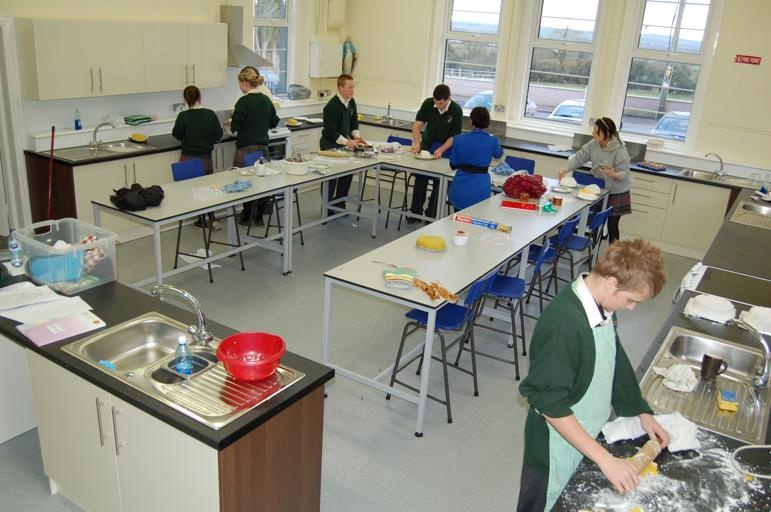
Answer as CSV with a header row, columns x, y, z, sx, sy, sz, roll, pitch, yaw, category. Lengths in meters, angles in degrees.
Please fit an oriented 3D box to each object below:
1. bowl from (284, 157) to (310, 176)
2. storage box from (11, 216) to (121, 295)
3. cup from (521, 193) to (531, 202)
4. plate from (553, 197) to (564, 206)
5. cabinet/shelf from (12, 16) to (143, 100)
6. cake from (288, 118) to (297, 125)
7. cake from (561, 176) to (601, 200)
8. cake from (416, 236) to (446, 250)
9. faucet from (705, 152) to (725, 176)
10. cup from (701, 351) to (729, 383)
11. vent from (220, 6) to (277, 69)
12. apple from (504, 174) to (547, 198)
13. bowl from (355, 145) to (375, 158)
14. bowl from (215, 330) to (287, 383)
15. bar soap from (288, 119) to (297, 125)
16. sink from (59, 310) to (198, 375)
x,y,z,sx,sy,sz,roll,pitch,yaw,category
-1.066,-1.078,6.773,0.213,0.089,0.211,2,21,-1,bowl
-2.354,-0.090,4.178,0.737,0.359,0.497,20,30,32,storage box
1.563,-0.673,6.425,0.095,0.081,0.094,0,23,0,cup
1.950,-0.627,6.446,0.094,0.068,0.093,-19,25,-37,plate
-3.508,-2.248,6.400,0.396,0.615,1.036,16,21,35,cabinet/shelf
-1.418,-2.051,8.702,0.135,0.060,0.132,-5,18,-21,cake
2.344,-0.818,6.887,0.300,0.115,0.437,-11,26,-30,cake
0.417,-0.119,5.249,0.243,0.111,0.120,4,39,22,cake
4.501,-1.268,7.796,0.262,0.351,0.118,25,47,36,faucet
2.136,0.722,3.801,0.205,0.186,0.132,3,20,18,cup
-2.072,-3.109,8.051,0.742,0.739,0.668,16,33,20,vent
1.619,-0.819,6.593,0.323,0.166,0.386,6,18,22,apple
-0.277,-1.395,7.585,0.183,0.093,0.259,-20,31,-38,bowl
-0.805,0.597,3.452,0.330,0.129,0.319,3,29,-2,bowl
-1.428,-2.058,8.721,0.139,0.129,0.079,-7,31,-16,bar soap
-1.681,0.558,3.686,0.413,0.175,0.493,24,32,29,sink
